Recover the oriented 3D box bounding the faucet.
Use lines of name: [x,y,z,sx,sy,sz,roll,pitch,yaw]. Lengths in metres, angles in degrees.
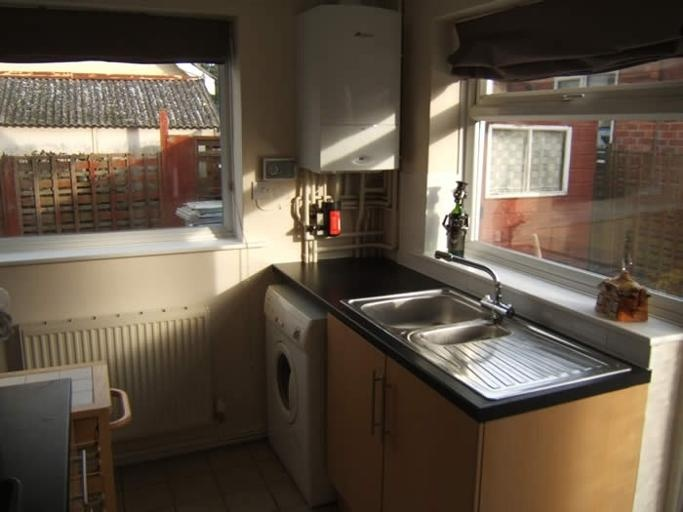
faucet: [0.685,0.131,2.516,0.385,0.291,0.399,16,18,40]
